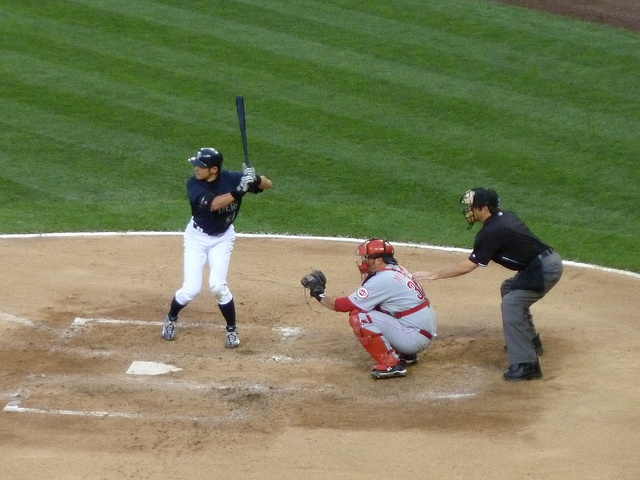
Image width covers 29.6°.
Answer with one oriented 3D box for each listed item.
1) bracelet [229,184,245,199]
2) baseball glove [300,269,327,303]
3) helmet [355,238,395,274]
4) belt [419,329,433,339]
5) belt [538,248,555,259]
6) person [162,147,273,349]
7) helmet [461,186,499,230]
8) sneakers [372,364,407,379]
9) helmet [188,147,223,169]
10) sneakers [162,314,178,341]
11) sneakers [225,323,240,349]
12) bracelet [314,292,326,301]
[{"bbox_3d":[-1.026,-0.608,15.295,0.143,0.075,0.193,26,-24,-31],"label":"bracelet"},{"bbox_3d":[-0.097,0.560,15.429,0.180,0.273,0.443,32,34,8],"label":"baseball glove"},{"bbox_3d":[0.696,0.174,15.333,0.559,0.384,0.411,9,10,15],"label":"helmet"},{"bbox_3d":[1.319,1.174,15.190,0.144,0.047,0.102,31,-4,-25],"label":"belt"},{"bbox_3d":[2.805,0.156,15.118,0.159,0.044,0.150,-30,1,25],"label":"belt"},{"bbox_3d":[-1.350,0.068,15.700,1.019,2.530,0.980,9,24,-7],"label":"person"},{"bbox_3d":[2.010,-0.421,15.262,0.605,0.464,0.409,0,7,13],"label":"helmet"},{"bbox_3d":[0.835,1.625,15.085,0.493,0.186,0.164,1,-8,-3],"label":"sneakers"},{"bbox_3d":[-1.443,-1.048,15.389,0.388,0.166,0.239,11,18,-12],"label":"helmet"},{"bbox_3d":[-1.964,1.132,15.829,0.150,0.335,0.179,4,-14,-28],"label":"sneakers"},{"bbox_3d":[-1.140,1.249,15.691,0.137,0.146,0.345,-5,29,-5],"label":"sneakers"},{"bbox_3d":[-0.005,0.703,15.277,0.117,0.024,0.112,12,-12,38],"label":"bracelet"}]
